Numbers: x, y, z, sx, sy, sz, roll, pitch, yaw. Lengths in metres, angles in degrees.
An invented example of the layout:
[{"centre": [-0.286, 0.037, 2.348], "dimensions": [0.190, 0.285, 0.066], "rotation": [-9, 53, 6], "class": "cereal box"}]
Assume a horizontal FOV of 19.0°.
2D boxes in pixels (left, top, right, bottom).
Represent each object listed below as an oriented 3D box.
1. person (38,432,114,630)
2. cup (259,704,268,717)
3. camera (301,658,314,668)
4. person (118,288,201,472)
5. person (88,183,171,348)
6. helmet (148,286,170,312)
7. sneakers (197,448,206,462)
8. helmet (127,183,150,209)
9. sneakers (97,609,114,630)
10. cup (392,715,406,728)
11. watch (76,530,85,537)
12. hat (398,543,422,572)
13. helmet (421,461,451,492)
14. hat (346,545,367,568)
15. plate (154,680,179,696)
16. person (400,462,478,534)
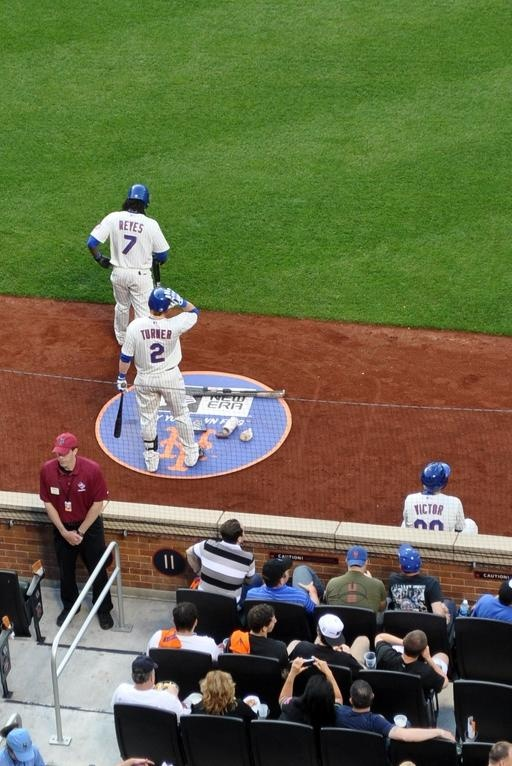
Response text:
[{"centre": [-1.663, 1.335, 14.140], "dimensions": [0.597, 1.834, 0.399], "rotation": [-6, 16, -14], "class": "person"}, {"centre": [0.060, 2.677, 12.392], "dimensions": [0.065, 0.084, 0.085], "rotation": [-1, -14, -1], "class": "cup"}, {"centre": [0.423, 2.278, 12.295], "dimensions": [0.086, 0.078, 0.066], "rotation": [-8, -21, -4], "class": "camera"}, {"centre": [-0.962, 0.006, 15.839], "dimensions": [0.792, 2.119, 0.685], "rotation": [-5, 15, -9], "class": "person"}, {"centre": [-1.463, -1.322, 17.869], "dimensions": [0.929, 2.038, 0.648], "rotation": [6, 32, 0], "class": "person"}, {"centre": [-0.965, -0.820, 15.333], "dimensions": [0.177, 0.212, 0.254], "rotation": [10, 47, -10], "class": "helmet"}, {"centre": [-0.581, 0.780, 16.544], "dimensions": [0.068, 0.163, 0.054], "rotation": [1, -6, -3], "class": "sneakers"}, {"centre": [-1.335, -2.147, 17.456], "dimensions": [0.207, 0.244, 0.295], "rotation": [8, 25, -2], "class": "helmet"}, {"centre": [-1.405, 2.229, 14.228], "dimensions": [0.084, 0.091, 0.227], "rotation": [-13, 46, -20], "class": "sneakers"}, {"centre": [1.172, 2.731, 12.232], "dimensions": [0.091, 0.066, 0.092], "rotation": [-1, 43, 1], "class": "cup"}, {"centre": [-1.614, 1.394, 14.080], "dimensions": [0.055, 0.072, 0.063], "rotation": [-4, -26, -14], "class": "watch"}, {"centre": [1.355, 1.550, 13.387], "dimensions": [0.156, 0.129, 0.249], "rotation": [-3, 52, -2], "class": "hat"}, {"centre": [1.733, 0.908, 14.588], "dimensions": [0.217, 0.310, 0.161], "rotation": [22, -11, 27], "class": "helmet"}, {"centre": [0.903, 1.543, 13.508], "dimensions": [0.128, 0.105, 0.202], "rotation": [3, 10, 8], "class": "hat"}, {"centre": [-0.712, 2.481, 12.369], "dimensions": [0.124, 0.085, 0.124], "rotation": [1, 0, -16], "class": "plate"}, {"centre": [1.775, 1.256, 14.784], "dimensions": [0.739, 1.060, 0.655], "rotation": [-1, 18, 1], "class": "person"}]
